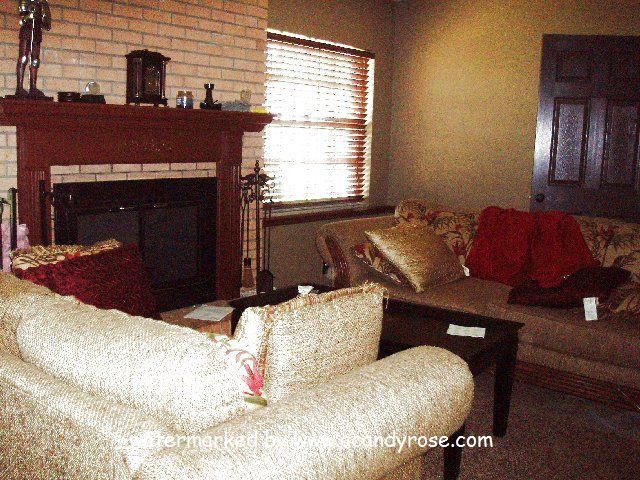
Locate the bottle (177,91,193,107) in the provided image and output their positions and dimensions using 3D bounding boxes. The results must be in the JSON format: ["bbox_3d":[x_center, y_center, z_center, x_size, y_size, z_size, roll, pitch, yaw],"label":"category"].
[{"bbox_3d":[-0.920,-0.964,3.317,0.113,0.109,0.114,5,9,24],"label":"bottle"}]
